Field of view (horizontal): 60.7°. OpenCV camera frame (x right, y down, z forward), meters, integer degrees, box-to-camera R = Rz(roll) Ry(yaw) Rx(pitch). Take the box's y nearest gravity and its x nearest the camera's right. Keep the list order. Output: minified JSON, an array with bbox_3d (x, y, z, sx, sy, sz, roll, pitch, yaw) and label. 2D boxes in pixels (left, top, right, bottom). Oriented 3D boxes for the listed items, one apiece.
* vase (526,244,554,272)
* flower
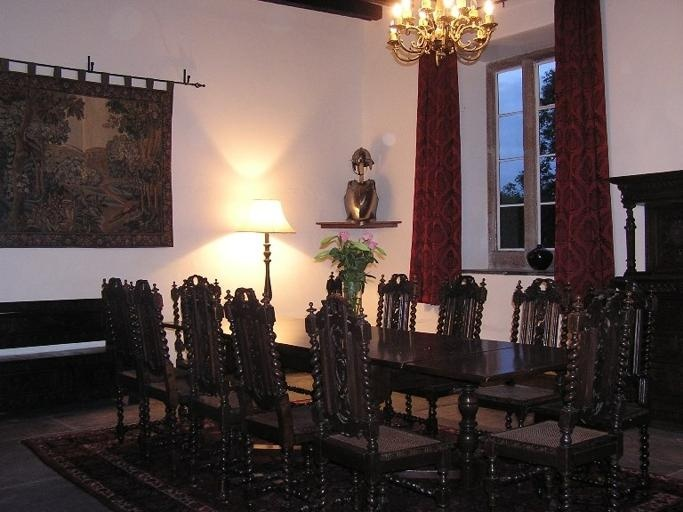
[{"bbox_3d":[1.995,0.033,5.817,0.251,0.290,0.252,4,-7,-39],"label":"vase"},{"bbox_3d":[0.043,0.120,5.026,0.498,0.589,0.500,12,-23,-34],"label":"flower"}]
